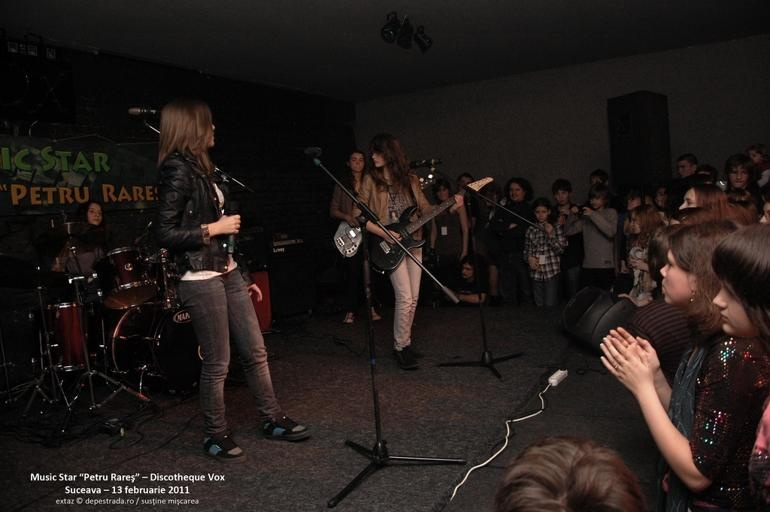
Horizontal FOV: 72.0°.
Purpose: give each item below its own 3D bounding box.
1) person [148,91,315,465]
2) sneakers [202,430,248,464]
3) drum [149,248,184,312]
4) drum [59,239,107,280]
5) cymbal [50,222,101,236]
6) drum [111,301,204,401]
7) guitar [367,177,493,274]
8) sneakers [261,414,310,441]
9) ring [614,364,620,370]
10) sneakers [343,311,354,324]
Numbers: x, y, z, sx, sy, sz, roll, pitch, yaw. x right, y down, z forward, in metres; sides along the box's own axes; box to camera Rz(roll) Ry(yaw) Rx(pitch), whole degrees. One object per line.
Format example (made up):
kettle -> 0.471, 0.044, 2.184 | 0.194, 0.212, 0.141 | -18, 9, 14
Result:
person -> -1.021, 0.152, 3.258 | 0.627, 2.191, 0.455 | -9, 11, -22
sneakers -> -0.993, 1.179, 3.249 | 0.309, 0.133, 0.128 | -1, -4, 28
drum -> -1.894, 0.180, 4.442 | 0.272, 0.423, 0.440 | 4, -25, -39
drum -> -2.663, 0.039, 4.624 | 0.354, 0.320, 0.191 | 2, -5, -39
cymbal -> -2.584, -0.231, 4.432 | 0.392, 0.122, 0.157 | -11, 12, -37
drum -> -1.784, 0.756, 4.174 | 0.444, 0.730, 0.797 | 7, -7, 44
guitar -> 0.512, -0.313, 5.501 | 1.478, 0.470, 0.204 | -33, -11, -6
sneakers -> -0.654, 1.130, 3.486 | 0.358, 0.146, 0.134 | -1, -5, 19
ring -> 0.893, 0.430, 2.039 | 0.024, 0.005, 0.023 | 4, 45, -4
sneakers -> -0.454, 0.776, 6.542 | 0.103, 0.113, 0.302 | -1, -8, 4
